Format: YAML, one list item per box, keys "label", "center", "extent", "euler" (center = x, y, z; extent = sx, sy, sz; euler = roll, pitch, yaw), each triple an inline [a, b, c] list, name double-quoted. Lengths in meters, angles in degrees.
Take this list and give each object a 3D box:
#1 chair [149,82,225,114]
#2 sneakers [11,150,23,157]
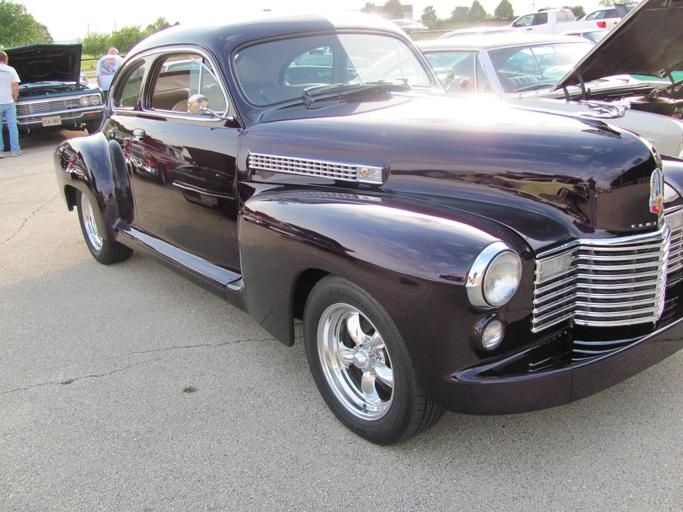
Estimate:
- label: "chair"
  center: [-1.236, -1.262, 3.955]
  extent: [0.717, 0.196, 0.538]
  euler: [16, 25, 42]
- label: "sneakers"
  center: [-6.955, -2.200, 10.632]
  extent: [0.139, 0.118, 0.336]
  euler: [-16, 17, -38]
